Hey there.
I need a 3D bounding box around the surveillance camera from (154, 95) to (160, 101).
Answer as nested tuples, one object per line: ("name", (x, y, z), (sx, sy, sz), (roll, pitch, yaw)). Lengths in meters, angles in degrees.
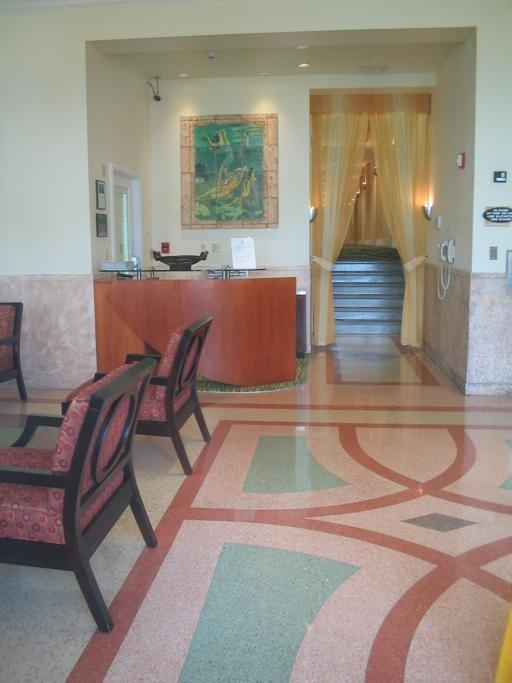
("surveillance camera", (-1.279, -3.105, 6.073), (0.057, 0.016, 0.064), (4, 8, -8))
